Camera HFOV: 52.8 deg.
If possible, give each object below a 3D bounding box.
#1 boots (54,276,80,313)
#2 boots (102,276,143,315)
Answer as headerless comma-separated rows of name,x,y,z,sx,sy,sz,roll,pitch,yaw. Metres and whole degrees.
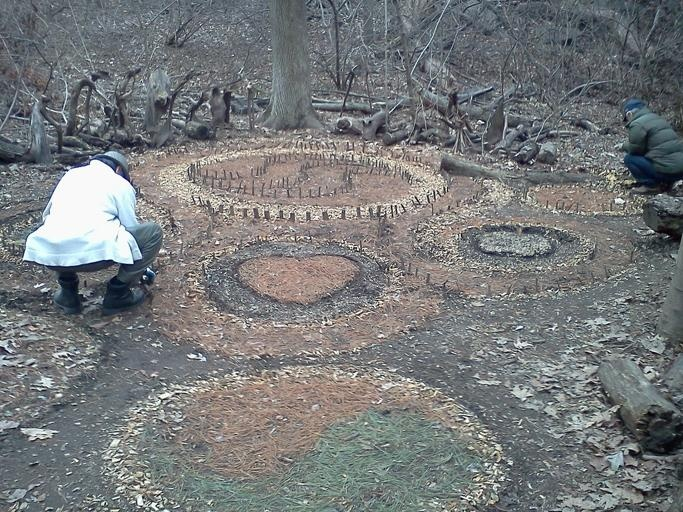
boots,-3.436,0.501,8.618,0.255,0.405,0.461,-15,42,-37
boots,-2.724,0.471,8.877,0.283,0.408,0.678,28,33,32
